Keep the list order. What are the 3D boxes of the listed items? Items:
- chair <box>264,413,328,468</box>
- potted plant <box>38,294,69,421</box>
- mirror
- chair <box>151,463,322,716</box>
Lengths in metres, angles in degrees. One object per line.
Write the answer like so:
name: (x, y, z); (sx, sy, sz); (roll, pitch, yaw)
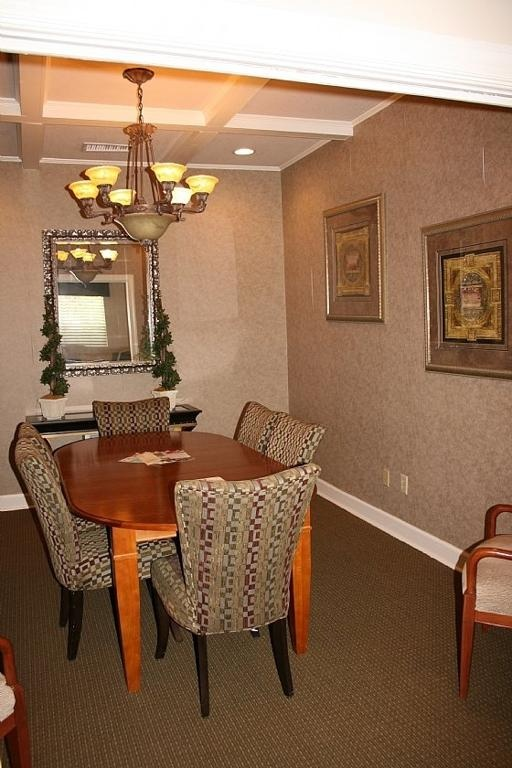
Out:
chair: (0.210, 0.271, 2.758); (0.195, 0.211, 0.542); (-14, 8, -9)
potted plant: (-1.631, -0.232, 4.479); (0.219, 0.974, 0.465); (-3, 5, -20)
mirror: (-1.342, -0.693, 4.688); (1.182, 1.519, 0.068); (-3, 5, -20)
chair: (-0.083, 0.553, 1.966); (0.478, 0.588, 0.544); (-3, 5, -22)
